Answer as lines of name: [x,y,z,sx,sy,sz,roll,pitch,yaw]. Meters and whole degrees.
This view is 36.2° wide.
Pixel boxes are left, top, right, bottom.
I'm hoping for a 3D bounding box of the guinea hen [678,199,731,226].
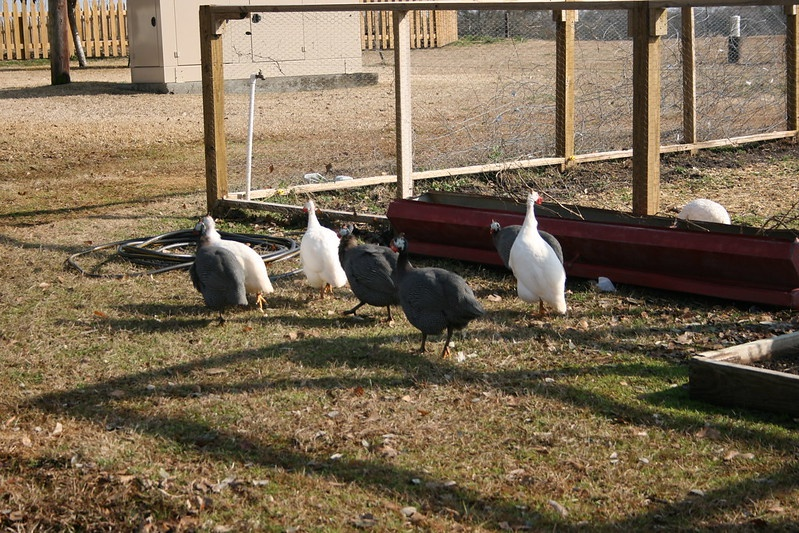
guinea hen: [4.649,-0.827,18.661,0.622,0.392,0.578,7,8,6]
